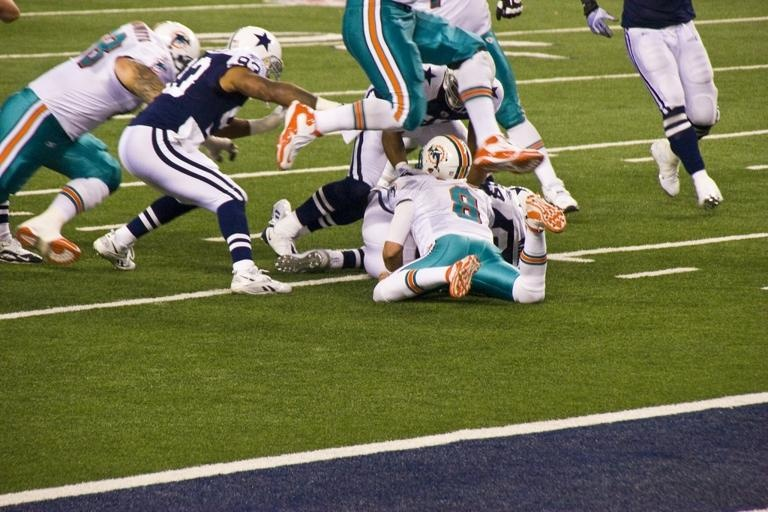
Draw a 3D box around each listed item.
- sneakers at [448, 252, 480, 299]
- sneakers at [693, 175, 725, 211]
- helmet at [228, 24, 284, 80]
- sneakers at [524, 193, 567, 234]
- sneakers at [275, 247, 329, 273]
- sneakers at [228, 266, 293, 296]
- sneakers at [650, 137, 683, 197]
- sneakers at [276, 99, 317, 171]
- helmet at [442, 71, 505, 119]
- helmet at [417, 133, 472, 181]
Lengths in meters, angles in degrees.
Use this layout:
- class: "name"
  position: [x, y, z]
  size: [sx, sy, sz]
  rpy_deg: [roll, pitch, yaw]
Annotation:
- class: "sneakers"
  position: [0.458, 0.110, 5.527]
  size: [0.128, 0.277, 0.129]
  rpy_deg: [1, 69, -6]
- class: "sneakers"
  position: [2.552, -0.499, 7.628]
  size: [0.131, 0.170, 0.316]
  rpy_deg: [29, 34, -35]
- class: "helmet"
  position: [-0.790, -1.344, 6.370]
  size: [0.388, 0.368, 0.294]
  rpy_deg: [-6, 20, -21]
- class: "sneakers"
  position: [0.908, -0.251, 5.631]
  size: [0.137, 0.131, 0.311]
  rpy_deg: [-3, 37, -38]
- class: "sneakers"
  position: [-0.521, 0.023, 6.501]
  size: [0.396, 0.142, 0.181]
  rpy_deg: [3, 12, -1]
- class: "sneakers"
  position: [-0.796, 0.166, 6.088]
  size: [0.428, 0.193, 0.147]
  rpy_deg: [0, 5, -15]
- class: "sneakers"
  position: [2.442, -0.753, 8.352]
  size: [0.186, 0.555, 0.252]
  rpy_deg: [-16, -3, -9]
- class: "sneakers"
  position: [-0.530, -0.716, 6.010]
  size: [0.209, 0.464, 0.179]
  rpy_deg: [16, 0, 4]
- class: "helmet"
  position: [0.583, -1.093, 6.552]
  size: [0.309, 0.133, 0.315]
  rpy_deg: [-8, 56, -7]
- class: "helmet"
  position: [0.416, -0.647, 6.178]
  size: [0.319, 0.234, 0.263]
  rpy_deg: [18, 17, 35]
